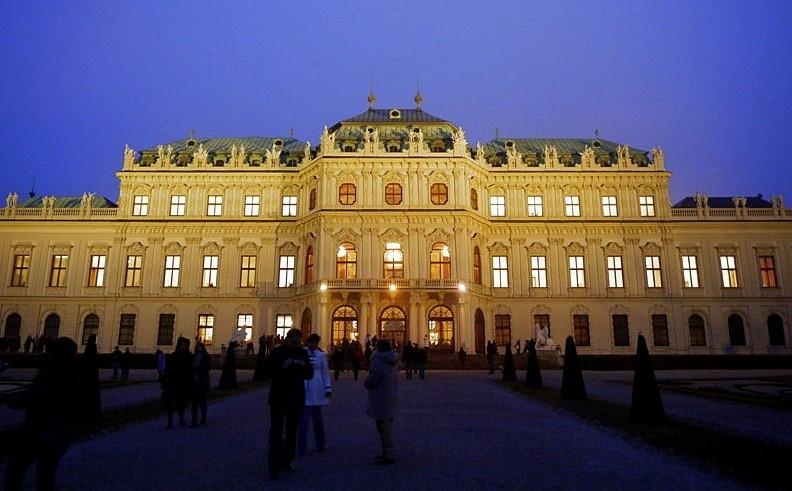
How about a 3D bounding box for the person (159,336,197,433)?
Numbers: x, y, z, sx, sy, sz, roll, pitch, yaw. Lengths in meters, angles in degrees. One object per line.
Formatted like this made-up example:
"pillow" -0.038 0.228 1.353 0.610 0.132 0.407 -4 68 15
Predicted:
"person" -6.590 4.077 16.536 0.886 2.588 0.553 0 -8 -6
